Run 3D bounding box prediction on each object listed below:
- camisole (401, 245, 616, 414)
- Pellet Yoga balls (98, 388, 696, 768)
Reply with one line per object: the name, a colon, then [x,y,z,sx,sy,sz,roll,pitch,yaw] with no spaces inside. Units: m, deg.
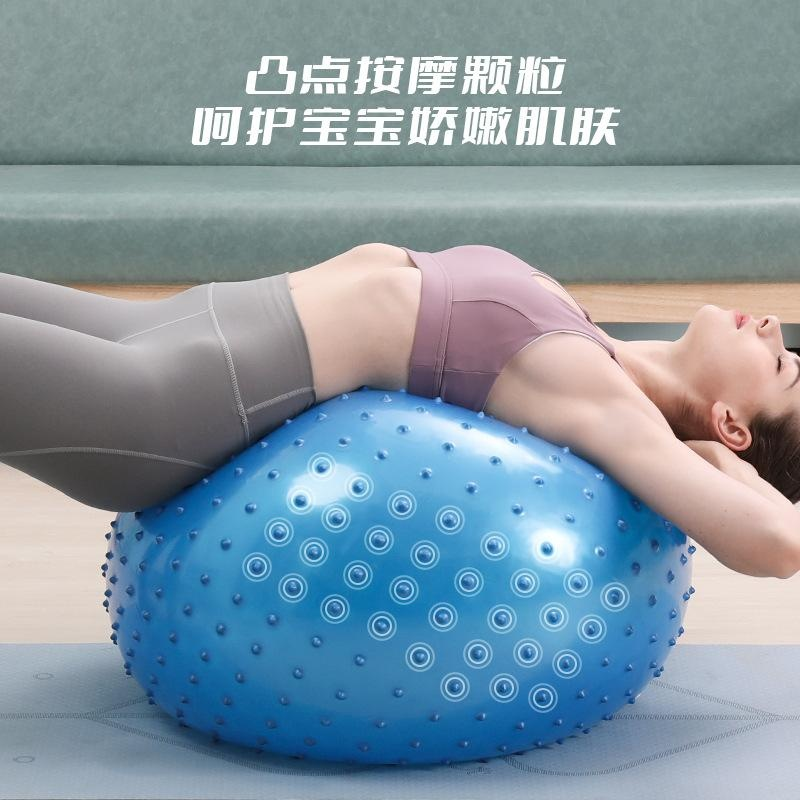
camisole: [0.065,-0.074,1.037,0.301,0.147,0.214,9,17,-8]
Pellet Yoga balls: [-0.002,0.224,1.041,0.531,0.298,0.565,-5,-3,0]
